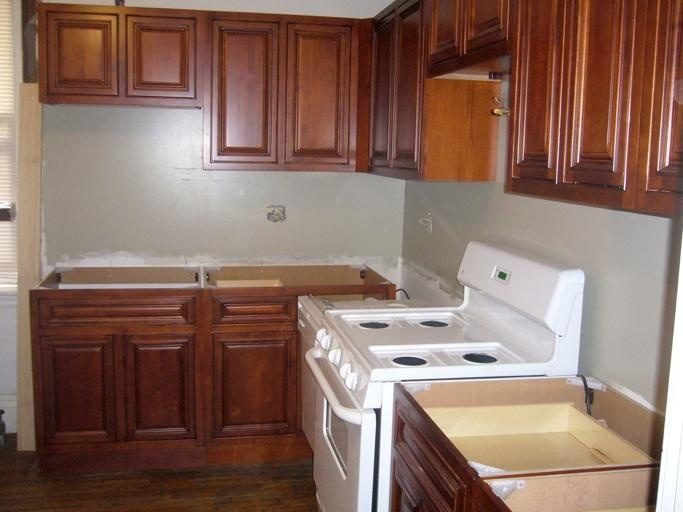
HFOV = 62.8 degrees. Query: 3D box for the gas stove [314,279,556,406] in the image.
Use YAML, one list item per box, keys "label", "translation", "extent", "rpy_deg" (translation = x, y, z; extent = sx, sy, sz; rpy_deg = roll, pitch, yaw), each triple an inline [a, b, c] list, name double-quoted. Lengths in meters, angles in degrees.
- label: "gas stove"
  translation: [0.341, 0.421, 2.367]
  extent: [0.825, 0.551, 1.114]
  rpy_deg: [0, 5, -2]
